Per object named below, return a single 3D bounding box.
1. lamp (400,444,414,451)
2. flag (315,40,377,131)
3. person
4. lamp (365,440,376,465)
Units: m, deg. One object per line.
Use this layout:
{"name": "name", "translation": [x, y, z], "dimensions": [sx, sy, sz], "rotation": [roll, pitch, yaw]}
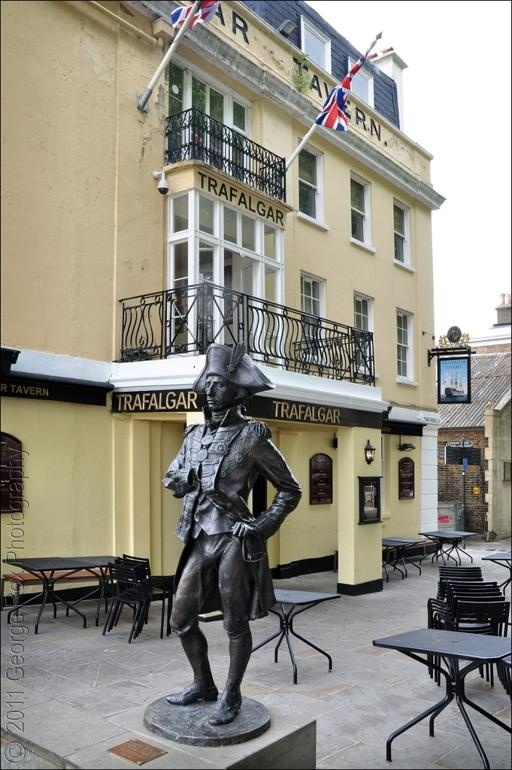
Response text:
{"name": "lamp", "translation": [3.196, 1.352, 20.155], "dimensions": [0.189, 0.109, 0.226], "rotation": [-4, -3, 23]}
{"name": "flag", "translation": [1.316, -4.524, 14.854], "dimensions": [0.687, 1.233, 0.620], "rotation": [-5, -7, 38]}
{"name": "person", "translation": [-0.184, 0.933, 6.305], "dimensions": [0.879, 2.439, 0.636], "rotation": [0, -6, -7]}
{"name": "lamp", "translation": [1.764, 1.105, 14.643], "dimensions": [0.078, 0.305, 0.242], "rotation": [-5, -7, 36]}
